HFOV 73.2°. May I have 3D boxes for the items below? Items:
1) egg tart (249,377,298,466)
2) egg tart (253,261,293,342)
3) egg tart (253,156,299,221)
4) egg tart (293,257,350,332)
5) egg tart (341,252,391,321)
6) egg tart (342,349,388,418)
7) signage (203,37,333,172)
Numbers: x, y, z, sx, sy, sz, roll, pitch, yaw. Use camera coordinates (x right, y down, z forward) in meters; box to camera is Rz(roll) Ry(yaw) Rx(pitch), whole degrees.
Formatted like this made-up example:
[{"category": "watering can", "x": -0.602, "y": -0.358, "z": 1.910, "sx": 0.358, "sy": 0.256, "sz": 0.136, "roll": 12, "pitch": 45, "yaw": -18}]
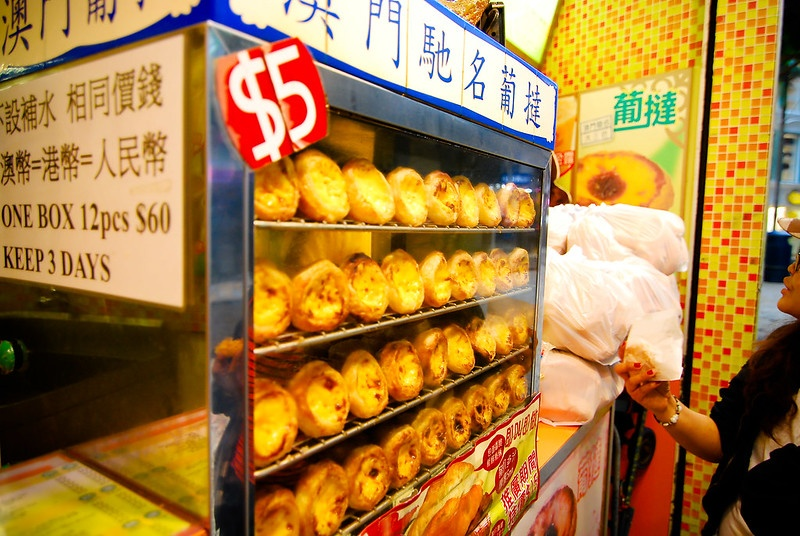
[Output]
[{"category": "egg tart", "x": -0.418, "y": 0.485, "z": 1.719, "sx": 0.095, "sy": 0.263, "sz": 0.187, "roll": 4, "pitch": 7, "yaw": 40}, {"category": "egg tart", "x": -0.414, "y": 0.107, "z": 1.698, "sx": 0.079, "sy": 0.247, "sz": 0.198, "roll": 2, "pitch": 6, "yaw": 23}, {"category": "egg tart", "x": -0.395, "y": -0.247, "z": 1.710, "sx": 0.055, "sy": 0.185, "sz": 0.151, "roll": -8, "pitch": -6, "yaw": 42}, {"category": "egg tart", "x": -0.269, "y": 0.093, "z": 1.826, "sx": 0.209, "sy": 0.238, "sz": 0.064, "roll": -4, "pitch": 7, "yaw": -39}, {"category": "egg tart", "x": -0.119, "y": 0.070, "z": 1.961, "sx": 0.091, "sy": 0.222, "sz": 0.216, "roll": -16, "pitch": -15, "yaw": 30}, {"category": "egg tart", "x": -0.142, "y": 0.426, "z": 1.984, "sx": 0.173, "sy": 0.227, "sz": 0.073, "roll": 4, "pitch": -19, "yaw": -41}, {"category": "signage", "x": -0.397, "y": -0.499, "z": 1.578, "sx": 0.360, "sy": 0.315, "sz": 0.046, "roll": -31, "pitch": 26, "yaw": -30}]
